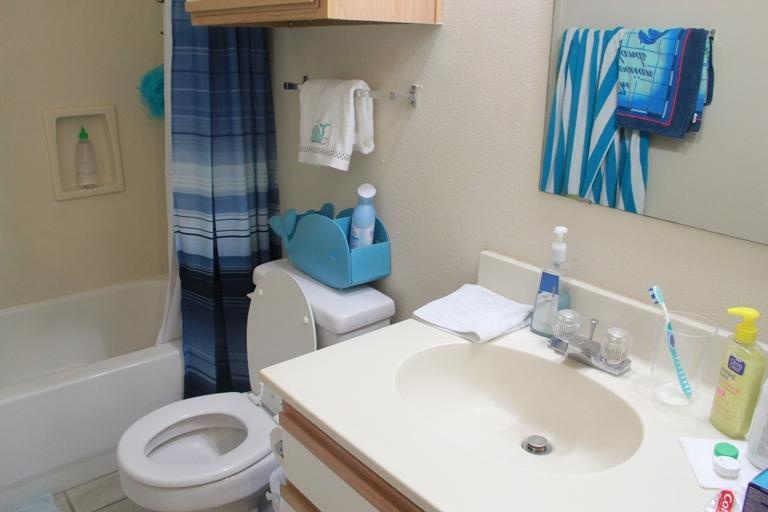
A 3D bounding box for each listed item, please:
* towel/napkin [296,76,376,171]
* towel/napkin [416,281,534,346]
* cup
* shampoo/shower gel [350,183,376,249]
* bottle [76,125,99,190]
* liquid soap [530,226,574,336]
[{"bbox_3d":[-0.168,-0.487,2.013,0.304,0.307,0.174,13,18,40],"label":"towel/napkin"},{"bbox_3d":[0.285,0.172,1.668,0.199,0.039,0.205,-18,29,-37],"label":"towel/napkin"},{"bbox_3d":[0.776,0.261,1.399,0.150,0.245,0.154,0,19,0],"label":"cup"},{"bbox_3d":[-0.072,-0.149,2.025,0.128,0.225,0.112,-9,24,-25],"label":"shampoo/shower gel"},{"bbox_3d":[-1.506,-0.465,2.753,0.105,0.247,0.055,-11,25,-29],"label":"bottle"},{"bbox_3d":[0.493,0.071,1.580,0.104,0.314,0.187,11,23,22],"label":"liquid soap"}]
